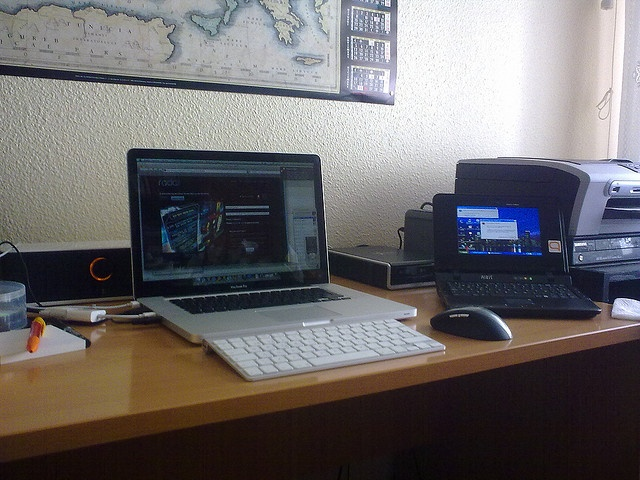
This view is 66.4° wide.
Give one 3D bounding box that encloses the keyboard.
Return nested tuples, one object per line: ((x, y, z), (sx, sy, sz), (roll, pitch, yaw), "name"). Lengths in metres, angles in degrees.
((0.011, 0.188, 0.880), (0.408, 0.035, 0.149), (-5, 11, -20), "keyboard")

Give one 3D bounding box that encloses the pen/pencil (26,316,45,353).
((-0.487, 0.162, 0.849), (0.022, 0.020, 0.077), (24, 16, -27), "pen/pencil")

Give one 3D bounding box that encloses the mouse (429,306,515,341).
((0.295, 0.166, 0.948), (0.119, 0.041, 0.062), (-2, 1, 35), "mouse")

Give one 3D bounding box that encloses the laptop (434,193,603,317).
((0.447, 0.026, 1.143), (0.329, 0.229, 0.280), (0, 14, 2), "laptop")

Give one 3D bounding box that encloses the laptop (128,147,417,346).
((-0.098, -0.015, 1.034), (0.549, 0.354, 0.449), (0, 8, -27), "laptop")
